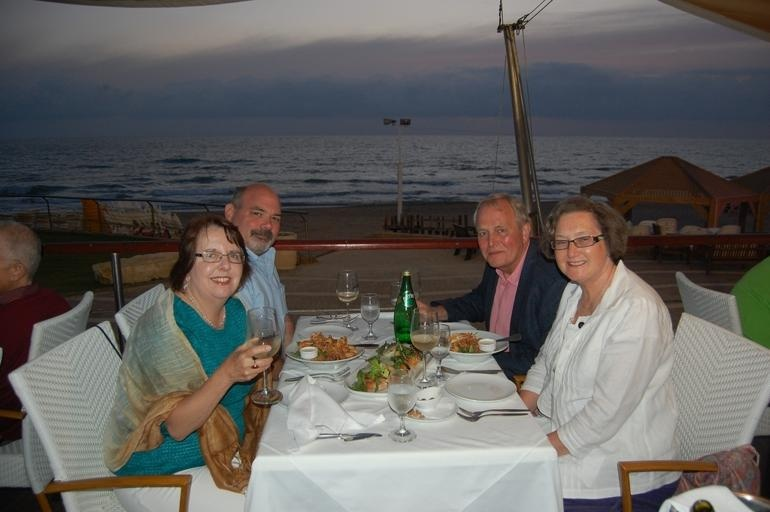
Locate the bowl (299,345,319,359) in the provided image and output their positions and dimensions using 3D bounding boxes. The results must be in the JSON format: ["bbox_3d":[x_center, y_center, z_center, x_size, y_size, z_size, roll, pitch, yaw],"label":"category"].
[{"bbox_3d":[-0.407,0.518,2.933,0.062,0.029,0.061,0,4,0],"label":"bowl"}]

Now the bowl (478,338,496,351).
[{"bbox_3d":[0.575,0.495,3.065,0.071,0.031,0.064,2,7,13],"label":"bowl"}]

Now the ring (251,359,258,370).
[{"bbox_3d":[-0.541,0.453,2.283,0.021,0.031,0.015,0,-2,-1],"label":"ring"}]

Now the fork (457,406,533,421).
[{"bbox_3d":[0.491,0.714,2.474,0.260,0.041,0.042,2,15,-3],"label":"fork"}]

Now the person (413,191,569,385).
[{"bbox_3d":[1.017,0.142,4.062,1.128,1.467,1.141,-7,13,-22],"label":"person"}]

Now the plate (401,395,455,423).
[{"bbox_3d":[0.213,0.689,2.460,0.125,0.024,0.119,-5,13,-20],"label":"plate"}]
